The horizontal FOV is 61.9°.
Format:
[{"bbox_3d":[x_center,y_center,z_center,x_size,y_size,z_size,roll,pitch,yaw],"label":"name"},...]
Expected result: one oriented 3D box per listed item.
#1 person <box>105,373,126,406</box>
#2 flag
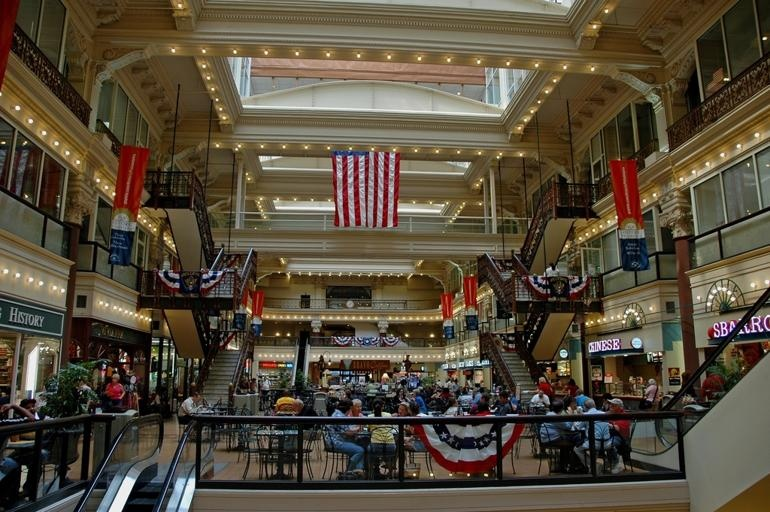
[{"bbox_3d":[-7.227,3.738,17.242,0.469,1.140,0.402,2,3,-26],"label":"person"},{"bbox_3d":[-0.761,-2.682,25.238,3.002,3.347,0.347,-1,-6,2],"label":"flag"}]
